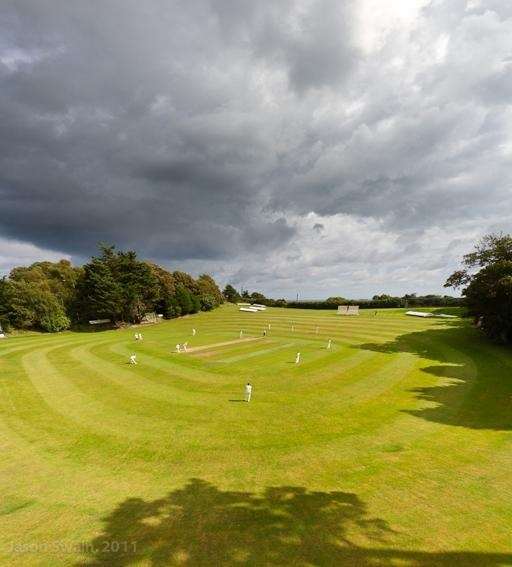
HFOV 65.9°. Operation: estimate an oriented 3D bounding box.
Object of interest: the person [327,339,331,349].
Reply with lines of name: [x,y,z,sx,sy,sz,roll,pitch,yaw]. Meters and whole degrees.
person: [9.452,7.762,51.318,0.215,0.739,1.163,4,27,13]
